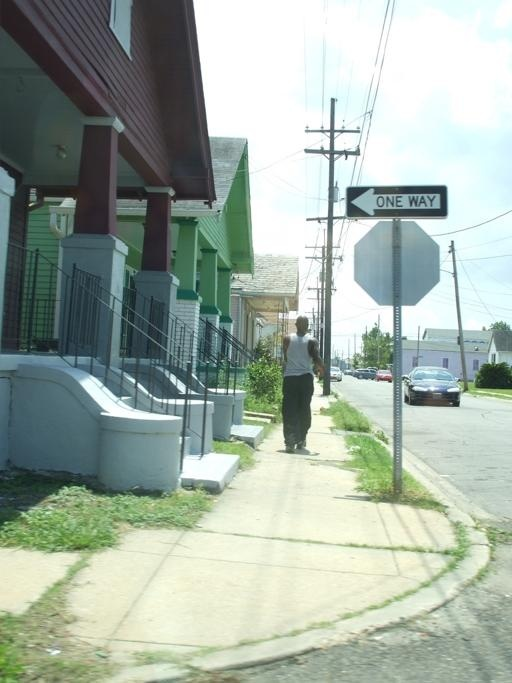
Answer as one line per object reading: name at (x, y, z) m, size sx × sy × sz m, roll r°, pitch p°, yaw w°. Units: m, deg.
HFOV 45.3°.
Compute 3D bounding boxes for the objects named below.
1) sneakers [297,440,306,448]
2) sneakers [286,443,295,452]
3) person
sneakers at (0.666, 1.538, 8.998) m, size 0.105 × 0.104 × 0.127 m, roll 1°, pitch -2°, yaw -3°
sneakers at (0.478, 1.534, 8.684) m, size 0.107 × 0.109 × 0.113 m, roll 0°, pitch -4°, yaw -1°
person at (0.595, 0.635, 8.657) m, size 0.543 × 1.513 × 0.977 m, roll 5°, pitch -2°, yaw 4°
